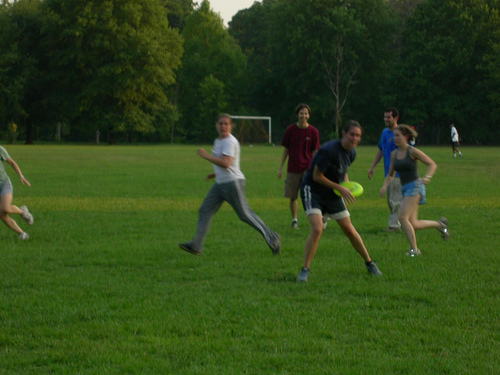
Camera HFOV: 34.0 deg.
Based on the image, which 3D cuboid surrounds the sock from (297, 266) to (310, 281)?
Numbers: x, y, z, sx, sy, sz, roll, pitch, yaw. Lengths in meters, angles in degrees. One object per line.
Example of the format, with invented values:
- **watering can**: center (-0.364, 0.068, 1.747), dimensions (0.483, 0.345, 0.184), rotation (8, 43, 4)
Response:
- **sock**: center (1.733, 2.806, 26.463), dimensions (0.210, 0.272, 0.611), rotation (23, 36, -13)
